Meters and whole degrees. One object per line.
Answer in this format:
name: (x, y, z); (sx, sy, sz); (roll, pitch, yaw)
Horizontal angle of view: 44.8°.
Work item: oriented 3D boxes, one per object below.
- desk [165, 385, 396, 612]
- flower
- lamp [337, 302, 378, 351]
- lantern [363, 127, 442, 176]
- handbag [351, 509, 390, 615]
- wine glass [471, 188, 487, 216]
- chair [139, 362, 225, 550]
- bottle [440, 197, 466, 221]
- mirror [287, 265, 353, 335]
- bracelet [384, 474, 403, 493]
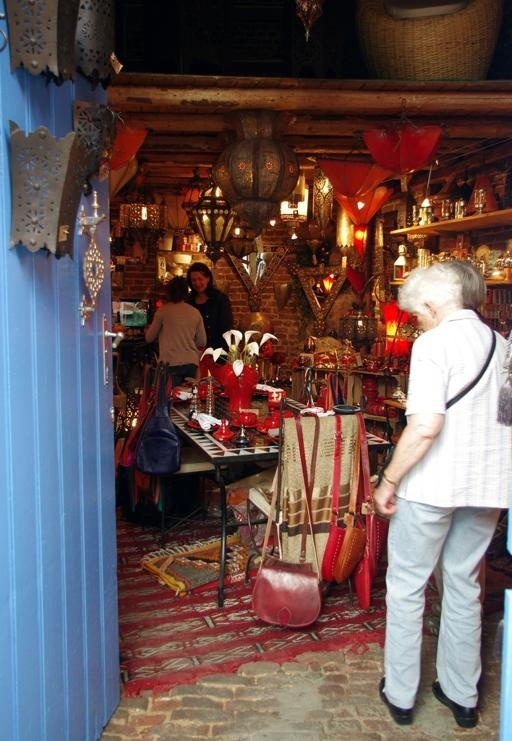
desk: (0.097, 0.450, 2.744); (0.847, 0.679, 0.902); (0, 6, -21)
flower: (-0.050, -0.055, 3.636); (0.294, 0.296, 0.353); (-1, -12, -22)
lamp: (1.023, -0.443, 6.185); (0.418, 0.592, 0.452); (1, 6, 9)
lantern: (0.840, -1.256, 3.595); (0.280, 0.187, 0.284); (-2, 8, -7)
handbag: (0.482, 0.785, 2.588); (0.108, 0.415, 0.256); (4, -26, 14)
wine glass: (1.542, -1.154, 4.282); (0.096, 0.193, 0.317); (3, 5, 19)
chair: (-0.517, 0.427, 3.410); (0.261, 0.838, 0.260); (-2, 13, -23)
bottle: (1.476, -1.200, 4.641); (0.135, 0.254, 0.249); (9, 17, 32)
mirror: (0.907, -1.001, 8.534); (1.193, 1.169, 0.212); (0, 0, 32)
bracelet: (0.431, 0.354, 1.942); (0.045, 0.033, 0.061); (6, -2, 1)
